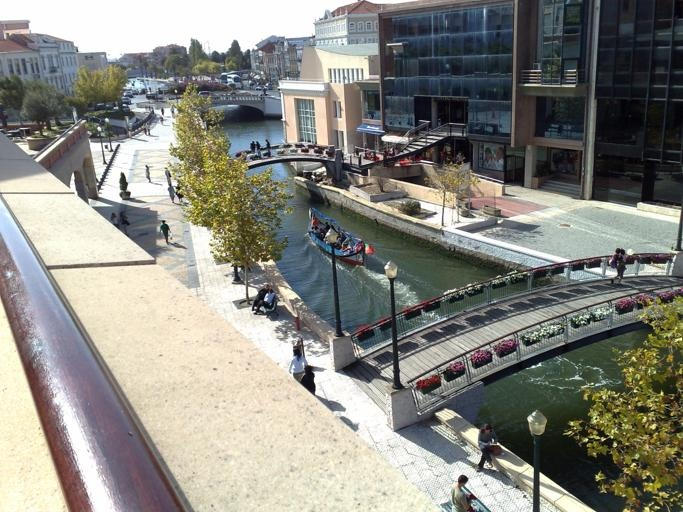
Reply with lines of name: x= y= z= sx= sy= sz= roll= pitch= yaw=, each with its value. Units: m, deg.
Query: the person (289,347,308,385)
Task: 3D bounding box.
person: x=-1.482 y=3.723 z=17.470 sx=0.576 sy=1.020 sz=1.512 roll=-7 pitch=19 yaw=-7

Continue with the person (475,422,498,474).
person: x=4.056 y=5.328 z=14.412 sx=0.476 sy=1.286 sz=0.639 roll=2 pitch=21 yaw=16

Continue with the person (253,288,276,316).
person: x=-3.353 y=2.172 z=23.912 sx=0.828 sy=0.511 sz=1.273 roll=11 pitch=28 yaw=13
